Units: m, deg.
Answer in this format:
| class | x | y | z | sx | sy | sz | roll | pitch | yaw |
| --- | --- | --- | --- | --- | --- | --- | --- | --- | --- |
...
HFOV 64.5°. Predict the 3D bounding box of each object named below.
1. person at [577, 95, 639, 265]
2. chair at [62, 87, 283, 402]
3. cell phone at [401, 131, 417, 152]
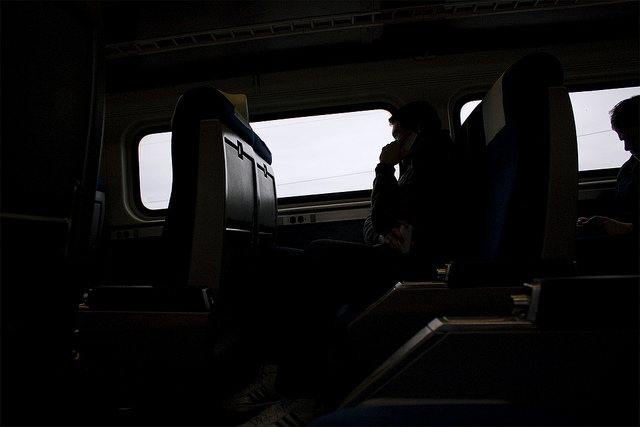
| class | x | y | z | sx | sy | sz | roll | pitch | yaw |
| --- | --- | --- | --- | --- | --- | --- | --- | --- | --- |
| person | 1.707 | -0.203 | 2.994 | 0.305 | 1.028 | 0.871 | 3 | 1 | 27 |
| chair | -0.508 | 0.144 | 2.178 | 0.459 | 1.226 | 0.981 | 3 | 1 | 28 |
| cell phone | 0.551 | -0.484 | 3.236 | 0.050 | 0.140 | 0.205 | 17 | 31 | -1 |
